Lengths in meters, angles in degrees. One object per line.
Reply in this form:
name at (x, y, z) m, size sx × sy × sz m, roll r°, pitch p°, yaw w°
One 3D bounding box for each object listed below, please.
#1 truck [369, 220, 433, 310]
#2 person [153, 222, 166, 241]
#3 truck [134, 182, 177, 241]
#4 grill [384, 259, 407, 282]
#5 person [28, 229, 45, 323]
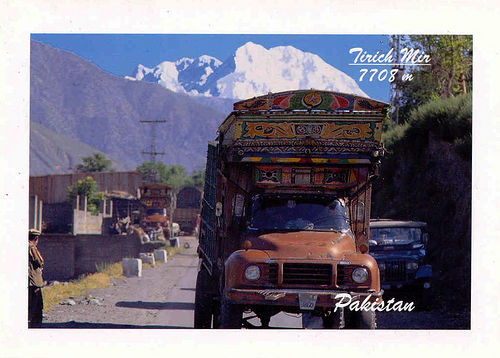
truck at (5.828, 3.521, 34.686) m, size 2.918 × 3.673 × 5.820 m, roll -1°, pitch -4°, yaw 4°
person at (-7.087, 4.165, 65.151) m, size 1.039 × 1.414 × 0.526 m, roll 18°, pitch -30°, yaw -34°
truck at (-8.062, 2.479, 70.847) m, size 2.573 × 4.377 × 8.046 m, roll 0°, pitch 1°, yaw -5°
grill at (5.796, 3.613, 32.541) m, size 0.735 × 0.619 × 0.882 m, roll 0°, pitch -1°, yaw 1°
person at (-7.571, 3.458, 29.220) m, size 0.541 × 3.256 × 1.578 m, roll 3°, pitch -6°, yaw -13°
